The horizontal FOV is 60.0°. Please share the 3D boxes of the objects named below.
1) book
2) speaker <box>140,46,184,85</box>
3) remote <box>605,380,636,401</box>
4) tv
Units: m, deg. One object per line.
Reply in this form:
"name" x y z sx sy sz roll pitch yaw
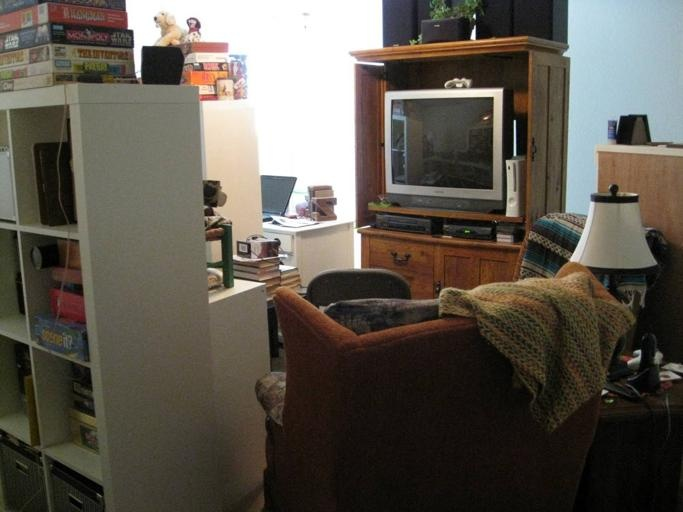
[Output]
"book" -0.452 0.119 4.005 0.330 0.144 0.415 11 15 38
"speaker" -0.722 -0.767 2.394 0.195 0.164 0.128 -12 15 -43
"remote" 1.107 0.531 2.361 0.052 0.039 0.095 -23 23 -37
"tv" 0.839 -0.817 4.482 0.870 0.802 0.457 6 12 32
